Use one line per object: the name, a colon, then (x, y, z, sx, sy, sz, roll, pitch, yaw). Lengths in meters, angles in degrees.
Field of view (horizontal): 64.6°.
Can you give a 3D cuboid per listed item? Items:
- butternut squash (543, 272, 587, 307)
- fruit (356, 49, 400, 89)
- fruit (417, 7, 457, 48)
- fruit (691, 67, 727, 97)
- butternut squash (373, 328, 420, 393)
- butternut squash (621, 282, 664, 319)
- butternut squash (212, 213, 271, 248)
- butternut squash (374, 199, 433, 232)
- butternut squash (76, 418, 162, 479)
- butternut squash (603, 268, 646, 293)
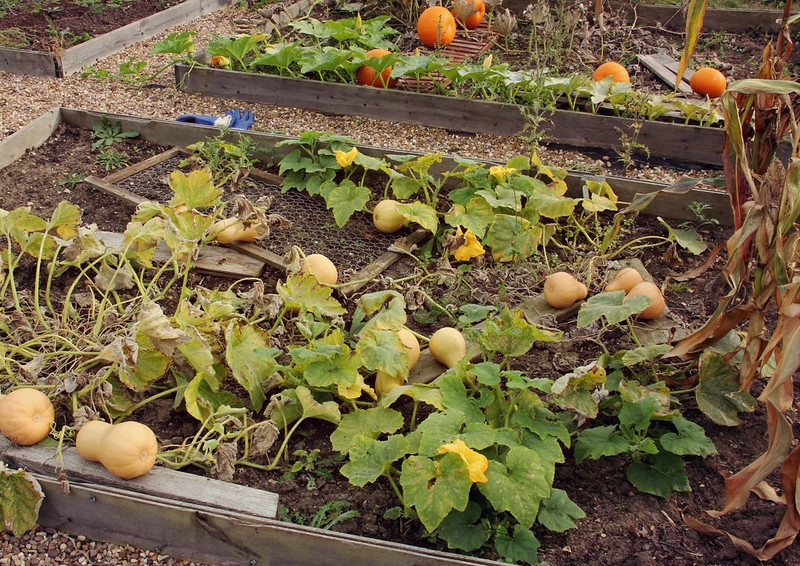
butternut squash: (0.815, 0.036, 3.191, 0.220, 0.159, 0.143, 3, 68, -6)
fruit: (-0.178, -1.697, 4.955, 0.319, 0.291, 0.462, -1, 32, -3)
fruit: (0.298, -2.282, 5.651, 0.319, 0.344, 0.354, 10, 34, 14)
fruit: (2.434, -1.594, 4.992, 0.208, 0.193, 0.357, -5, 33, -9)
butternut squash: (0.006, 0.367, 2.922, 0.166, 0.167, 0.317, 28, 46, -11)
butternut squash: (1.204, 0.087, 3.115, 0.192, 0.169, 0.157, 15, 36, 21)
butternut squash: (-0.844, -0.298, 3.437, 0.318, 0.144, 0.142, -5, -1, -15)
butternut squash: (0.020, -0.388, 3.582, 0.277, 0.204, 0.155, -9, -10, 14)
butternut squash: (-1.164, 0.660, 2.647, 0.327, 0.191, 0.190, 9, 18, 31)
butternut squash: (1.125, -0.015, 3.186, 0.182, 0.109, 0.106, -28, 30, -2)
